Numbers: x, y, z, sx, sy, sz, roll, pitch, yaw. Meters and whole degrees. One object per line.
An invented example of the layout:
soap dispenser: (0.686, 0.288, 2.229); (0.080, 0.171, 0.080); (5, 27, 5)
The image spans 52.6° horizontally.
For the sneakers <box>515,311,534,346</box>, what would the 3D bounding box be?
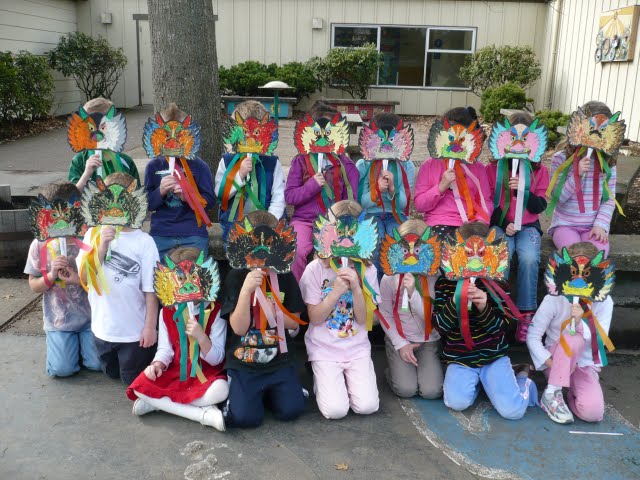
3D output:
sneakers: (1.450, 0.612, 4.641); (0.104, 0.344, 0.139); (3, -11, 21)

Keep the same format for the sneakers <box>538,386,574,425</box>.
sneakers: (1.496, 1.043, 4.115); (0.102, 0.130, 0.268); (-3, 7, -8)

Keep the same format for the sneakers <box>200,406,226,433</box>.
sneakers: (-0.641, 1.089, 3.970); (0.173, 0.107, 0.098); (9, 16, 34)
